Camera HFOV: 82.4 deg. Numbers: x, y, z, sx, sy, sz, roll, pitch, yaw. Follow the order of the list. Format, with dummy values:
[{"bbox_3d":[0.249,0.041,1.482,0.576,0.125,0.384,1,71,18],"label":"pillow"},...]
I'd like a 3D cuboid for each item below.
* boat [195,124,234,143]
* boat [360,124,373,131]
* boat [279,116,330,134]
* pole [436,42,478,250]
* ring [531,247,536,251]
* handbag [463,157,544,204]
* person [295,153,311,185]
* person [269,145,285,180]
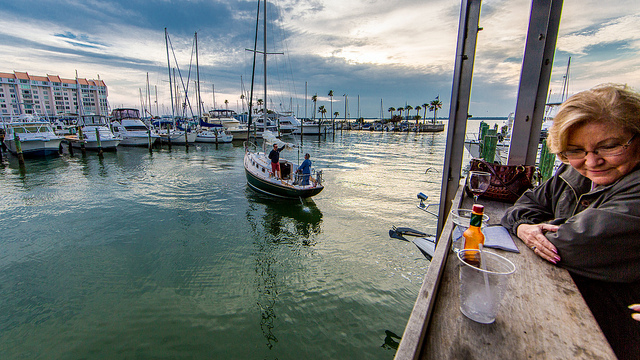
[{"bbox_3d":[-12.426,-5.305,41.782,2.316,1.501,4.562,-6,12,-37],"label":"boat"},{"bbox_3d":[11.284,-12.876,89.294,1.903,1.290,2.980,0,11,7],"label":"boat"},{"bbox_3d":[-2.431,-7.930,54.626,10.358,2.789,2.678,-3,27,-11],"label":"boat"},{"bbox_3d":[3.575,-1.608,9.424,0.254,4.408,0.246,7,7,24],"label":"pole"},{"bbox_3d":[4.420,1.432,7.583,0.022,0.064,0.081,-14,18,-43],"label":"ring"},{"bbox_3d":[4.394,0.047,8.754,1.241,0.748,0.502,8,17,16],"label":"handbag"},{"bbox_3d":[-0.712,-0.490,16.654,0.614,1.530,1.009,-1,14,-3],"label":"person"},{"bbox_3d":[-2.053,-0.874,17.278,0.637,1.649,0.780,-2,14,-7],"label":"person"}]
